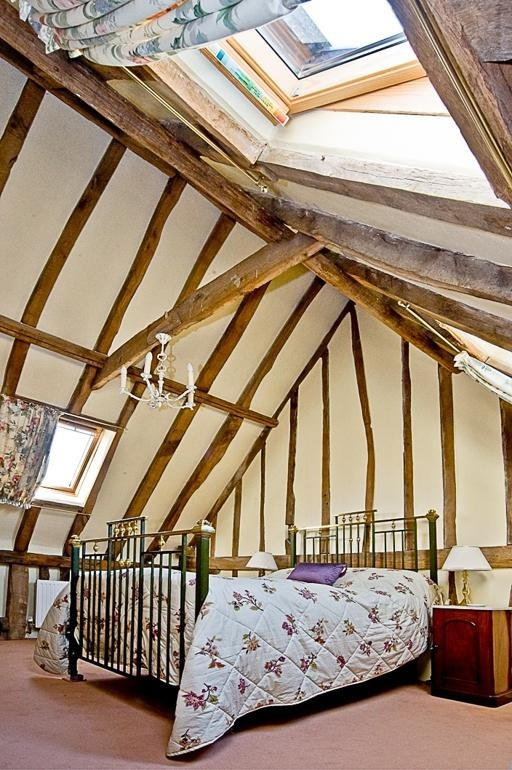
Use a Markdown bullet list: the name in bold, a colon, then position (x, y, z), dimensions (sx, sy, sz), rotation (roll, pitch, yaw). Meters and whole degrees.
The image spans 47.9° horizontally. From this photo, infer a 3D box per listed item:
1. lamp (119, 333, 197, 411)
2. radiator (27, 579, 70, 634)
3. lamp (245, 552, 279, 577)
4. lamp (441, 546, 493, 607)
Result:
- **lamp**: position (-0.859, -0.134, 4.905), dimensions (0.584, 0.573, 0.444), rotation (17, -15, -40)
- **radiator**: position (-2.026, 2.109, 5.534), dimensions (0.212, 0.407, 0.413), rotation (-19, -26, 22)
- **lamp**: position (0.050, 1.794, 5.911), dimensions (0.321, 0.340, 0.316), rotation (3, -13, -10)
- **lamp**: position (1.544, 1.380, 4.272), dimensions (0.459, 0.511, 0.466), rotation (-2, -23, 13)
